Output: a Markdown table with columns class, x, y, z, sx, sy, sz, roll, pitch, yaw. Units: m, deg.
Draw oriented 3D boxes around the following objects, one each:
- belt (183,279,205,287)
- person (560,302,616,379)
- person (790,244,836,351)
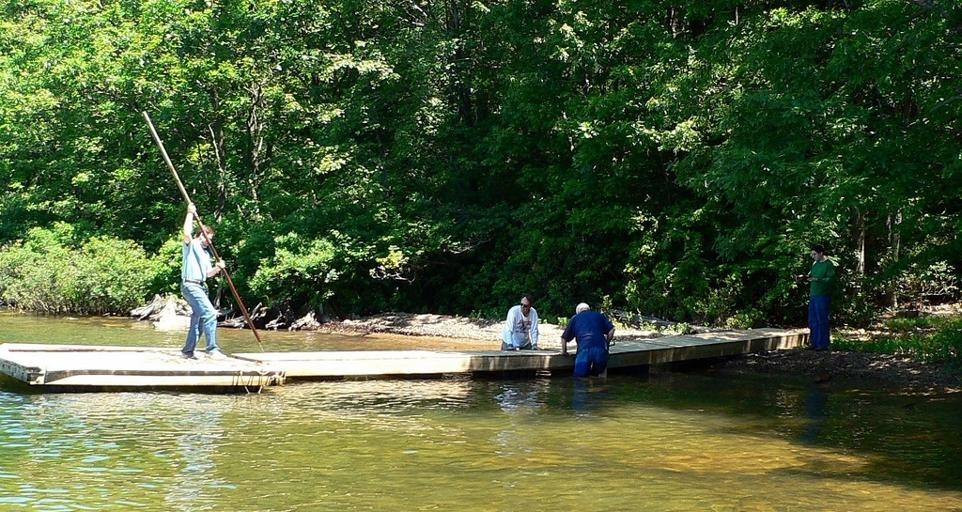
| class | x | y | z | sx | sy | sz | roll | pitch | yaw |
| --- | --- | --- | --- | --- | --- | --- | --- | --- | --- |
| belt | -8.747 | 0.837 | 29.867 | 0.643 | 0.172 | 0.165 | 3 | -4 | -21 |
| person | 3.474 | 2.765 | 31.795 | 1.503 | 2.377 | 0.570 | 2 | -3 | 3 |
| person | 11.891 | 1.483 | 34.356 | 0.879 | 3.661 | 1.153 | 1 | -3 | 18 |
